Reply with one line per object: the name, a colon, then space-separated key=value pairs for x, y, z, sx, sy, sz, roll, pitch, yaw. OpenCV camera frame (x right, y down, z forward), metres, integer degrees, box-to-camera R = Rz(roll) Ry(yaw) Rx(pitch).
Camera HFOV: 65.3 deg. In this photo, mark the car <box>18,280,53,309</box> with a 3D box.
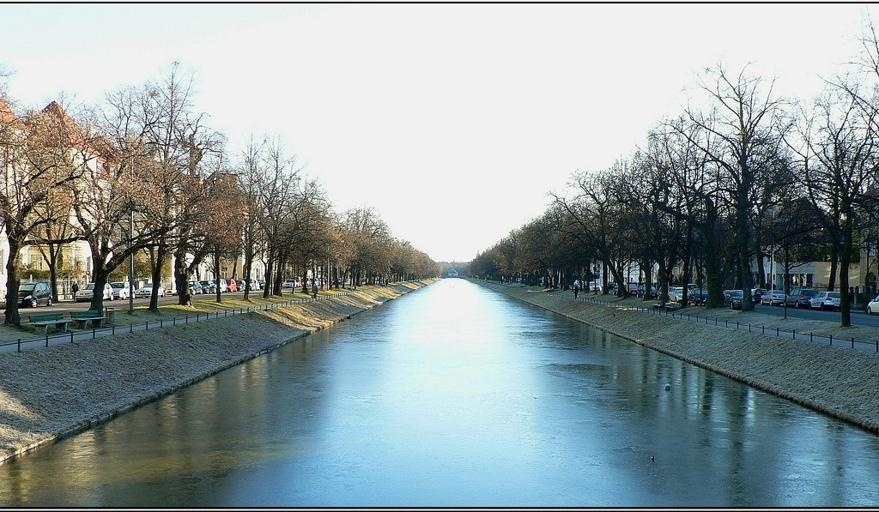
car: x=-39.136 y=3.989 z=66.163 sx=2.067 sy=2.444 sz=5.395 roll=-3 pitch=9 yaw=-17
